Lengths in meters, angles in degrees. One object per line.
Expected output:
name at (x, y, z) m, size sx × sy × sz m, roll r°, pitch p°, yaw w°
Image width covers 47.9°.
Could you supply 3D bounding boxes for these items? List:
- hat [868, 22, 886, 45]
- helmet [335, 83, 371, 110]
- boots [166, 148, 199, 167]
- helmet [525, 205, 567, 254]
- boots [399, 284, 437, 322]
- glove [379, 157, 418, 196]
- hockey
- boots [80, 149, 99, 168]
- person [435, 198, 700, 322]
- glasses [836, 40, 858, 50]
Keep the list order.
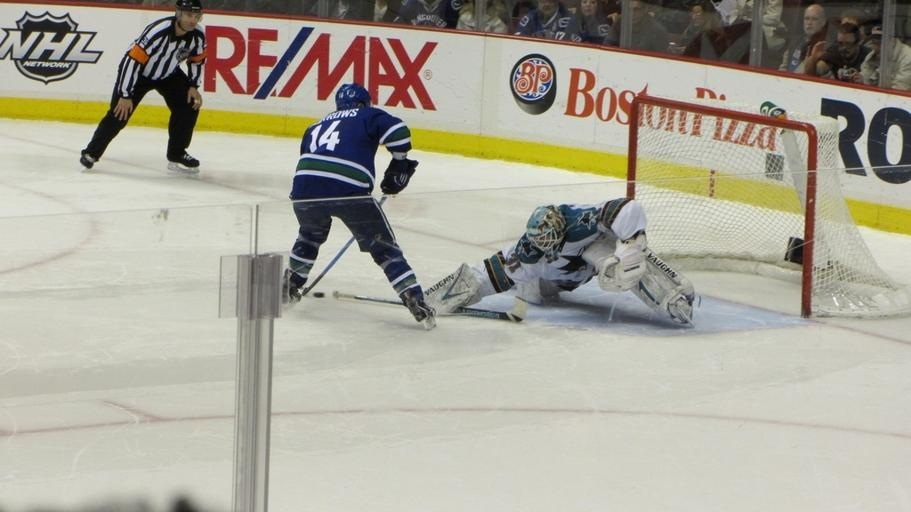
hat at (3.502, -1.840, 8.564) m, size 0.160 × 0.141 × 0.145 m, roll -2°, pitch 17°, yaw -4°
helmet at (-0.686, -1.084, 7.069) m, size 0.265 × 0.200 × 0.202 m, roll -13°, pitch 13°, yaw -32°
boots at (-2.528, -0.925, 9.770) m, size 0.388 × 0.139 × 0.125 m, roll 9°, pitch 30°, yaw 19°
helmet at (0.573, -0.150, 6.433) m, size 0.267 × 0.272 × 0.296 m, roll -5°, pitch -16°, yaw 31°
boots at (-0.201, 0.259, 5.521) m, size 0.275 × 0.099 × 0.125 m, roll 43°, pitch -12°, yaw -16°
glove at (-0.396, -0.583, 7.041) m, size 0.209 × 0.313 × 0.079 m, roll 21°, pitch 17°, yaw -23°
hockey at (-0.166, 0.262, 5.680) m, size 1.066 × 0.131 × 0.133 m, roll 6°, pitch -8°, yaw -5°
boots at (-3.432, -0.911, 9.624) m, size 0.156 × 0.172 × 0.258 m, roll 4°, pitch 15°, yaw -19°
person at (0.658, 0.014, 6.584) m, size 1.793 × 0.585 × 1.185 m, roll -6°, pitch 3°, yaw 35°
glasses at (3.320, -1.783, 8.695) m, size 0.107 × 0.038 × 0.122 m, roll 0°, pitch -7°, yaw 29°
